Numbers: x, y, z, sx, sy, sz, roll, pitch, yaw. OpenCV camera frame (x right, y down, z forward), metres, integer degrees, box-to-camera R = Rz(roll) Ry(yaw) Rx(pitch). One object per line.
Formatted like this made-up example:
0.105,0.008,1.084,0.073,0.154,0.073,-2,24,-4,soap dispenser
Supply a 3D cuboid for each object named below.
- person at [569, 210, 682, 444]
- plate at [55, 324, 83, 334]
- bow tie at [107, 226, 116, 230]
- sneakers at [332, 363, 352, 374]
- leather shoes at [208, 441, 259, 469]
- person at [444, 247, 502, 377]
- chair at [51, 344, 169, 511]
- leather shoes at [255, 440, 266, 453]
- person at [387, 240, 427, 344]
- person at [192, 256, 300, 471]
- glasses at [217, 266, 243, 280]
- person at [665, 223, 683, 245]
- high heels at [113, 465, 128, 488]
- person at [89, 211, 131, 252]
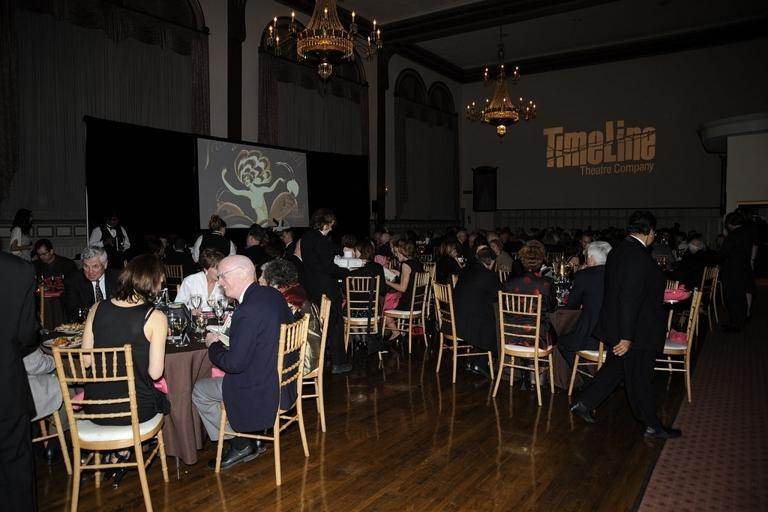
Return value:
2.715,0.766,6.298,0.969,2.506,0.518,1,3,29,person
-3.310,0.774,6.010,0.157,0.037,0.165,3,7,-15,plate
-4.744,-0.494,9.904,0.068,0.077,0.041,-8,29,-22,bow tie
-0.568,1.549,7.843,0.280,0.138,0.100,-11,10,-22,sneakers
-1.590,2.011,5.895,0.578,0.312,0.213,0,5,-31,leather shoes
1.225,0.567,7.474,0.615,1.353,0.305,0,3,10,person
-2.617,1.599,5.431,1.009,1.617,0.636,0,3,12,chair
-1.294,2.015,6.009,0.053,0.125,0.162,2,7,6,leather shoes
0.248,0.542,8.894,0.520,1.632,0.786,-2,3,-26,person
-1.410,1.071,5.730,0.885,2.169,0.620,0,3,22,person
-1.509,0.163,5.563,0.237,0.111,0.080,0,3,22,glasses
7.372,-0.552,14.380,0.214,0.352,0.781,-17,-23,15,person
-2.598,2.173,5.607,0.096,0.050,0.181,26,35,-17,high heels
-4.686,-0.421,9.663,0.447,0.808,0.779,3,1,26,person
